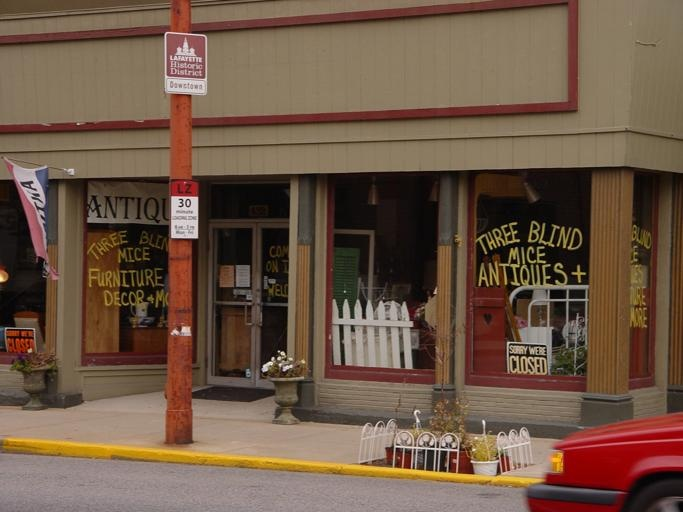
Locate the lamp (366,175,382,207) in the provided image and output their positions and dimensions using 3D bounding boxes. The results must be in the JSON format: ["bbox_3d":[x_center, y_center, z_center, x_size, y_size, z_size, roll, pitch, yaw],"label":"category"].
[{"bbox_3d":[0.536,-1.082,16.886,0.179,0.453,0.094,0,-5,8],"label":"lamp"}]

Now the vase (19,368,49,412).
[{"bbox_3d":[-5.293,2.284,17.784,0.392,0.707,0.447,2,-6,-15],"label":"vase"}]

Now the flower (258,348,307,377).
[{"bbox_3d":[-0.890,1.757,16.697,0.445,0.296,0.520,1,-1,10],"label":"flower"}]

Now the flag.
[{"bbox_3d":[-5.289,-0.639,17.643,0.427,1.976,1.073,-2,-6,29],"label":"flag"}]

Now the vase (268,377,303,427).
[{"bbox_3d":[-0.732,2.299,16.638,0.596,0.831,0.643,2,4,30],"label":"vase"}]

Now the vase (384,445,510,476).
[{"bbox_3d":[1.165,2.699,13.673,1.211,0.289,0.230,-1,-6,19],"label":"vase"}]
